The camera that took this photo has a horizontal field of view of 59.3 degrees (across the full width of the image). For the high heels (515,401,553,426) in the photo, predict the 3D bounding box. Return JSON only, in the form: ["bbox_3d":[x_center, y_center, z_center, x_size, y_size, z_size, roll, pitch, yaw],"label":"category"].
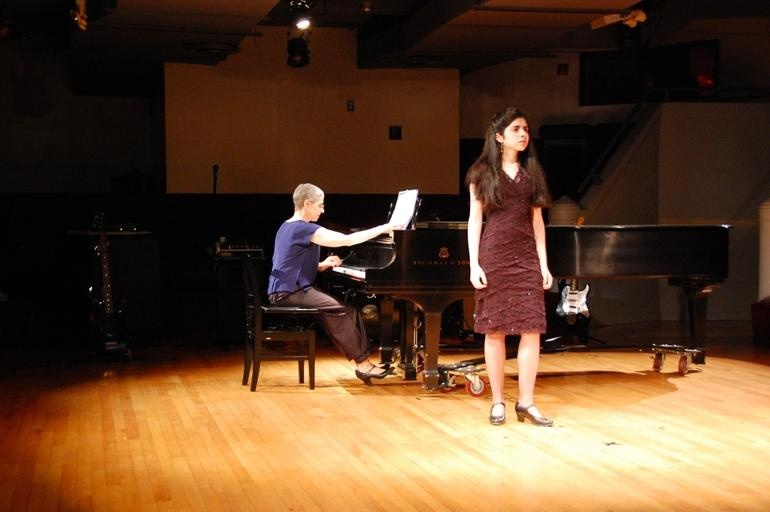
[{"bbox_3d":[1.062,1.154,4.992,0.349,0.142,0.117,2,-1,34],"label":"high heels"}]

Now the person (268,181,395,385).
[{"bbox_3d":[-0.530,0.266,6.177,1.105,1.852,0.534,2,7,30],"label":"person"}]

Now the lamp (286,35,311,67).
[{"bbox_3d":[-1.060,-2.540,8.491,0.365,0.417,0.442,0,5,-7],"label":"lamp"}]

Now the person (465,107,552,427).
[{"bbox_3d":[0.895,0.094,4.895,0.604,2.290,0.367,-1,6,6],"label":"person"}]

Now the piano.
[{"bbox_3d":[1.451,0.346,6.354,2.977,1.170,1.745,0,-2,-8],"label":"piano"}]

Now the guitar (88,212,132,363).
[{"bbox_3d":[-3.270,0.294,7.995,0.404,1.620,1.333,-4,6,-24],"label":"guitar"}]
